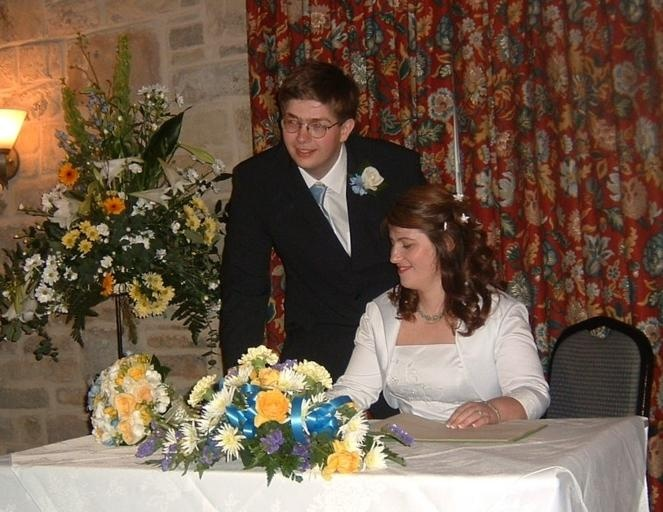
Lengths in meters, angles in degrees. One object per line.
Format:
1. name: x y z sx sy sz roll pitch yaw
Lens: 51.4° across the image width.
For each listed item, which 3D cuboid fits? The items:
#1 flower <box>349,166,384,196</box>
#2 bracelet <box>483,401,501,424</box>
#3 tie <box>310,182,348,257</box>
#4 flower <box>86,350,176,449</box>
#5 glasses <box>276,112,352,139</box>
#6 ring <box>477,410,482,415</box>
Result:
1. flower: 0.161 -0.350 3.261 0.136 0.135 0.064 -23 -7 2
2. bracelet: 0.579 0.561 2.473 0.017 0.064 0.063 -26 28 0
3. tie: 0.006 -0.170 3.339 0.103 0.363 0.087 -27 1 8
4. flower: -0.673 0.485 2.289 0.288 0.296 0.157 -1 -31 41
5. glasses: -0.077 -0.585 3.143 0.284 0.114 0.087 -3 13 -4
6. ring: 0.520 0.547 2.414 0.021 0.014 0.014 -14 17 -42
